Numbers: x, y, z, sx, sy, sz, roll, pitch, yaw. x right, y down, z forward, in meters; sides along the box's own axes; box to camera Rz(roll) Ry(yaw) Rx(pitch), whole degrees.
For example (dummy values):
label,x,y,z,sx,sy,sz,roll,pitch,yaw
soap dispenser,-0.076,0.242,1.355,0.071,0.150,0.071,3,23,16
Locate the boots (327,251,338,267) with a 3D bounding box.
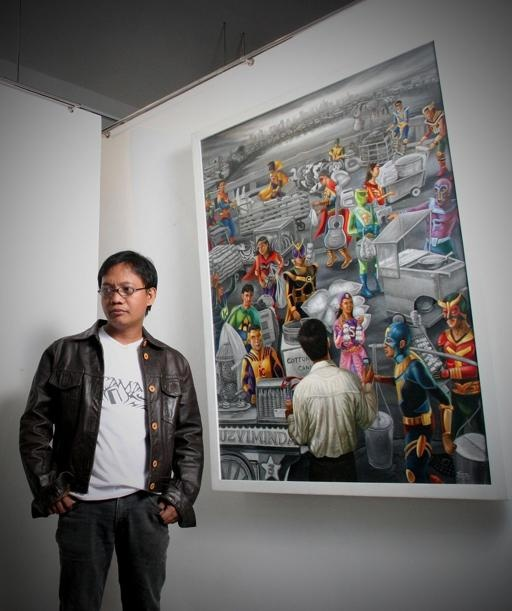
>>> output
label,x,y,z,sx,sy,sz,roll,pitch,yaw
boots,0.325,-0.202,2.174,0.066,0.067,0.036,1,4,-44
